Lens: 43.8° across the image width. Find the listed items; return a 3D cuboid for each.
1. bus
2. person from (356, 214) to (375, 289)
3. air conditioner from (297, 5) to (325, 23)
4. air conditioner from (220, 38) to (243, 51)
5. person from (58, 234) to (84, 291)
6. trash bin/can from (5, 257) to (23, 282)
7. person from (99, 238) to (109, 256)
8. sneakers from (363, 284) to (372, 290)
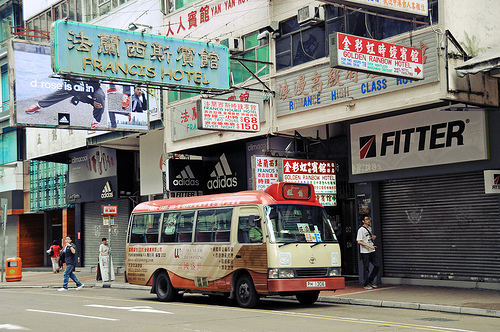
[{"bbox_3d":[-0.931,2.958,23.610,8.634,4.223,4.079,-8,-10,43],"label":"bus"},{"bbox_3d":[4.416,3.202,23.374,0.748,2.733,0.591,4,-12,-32],"label":"person"},{"bbox_3d":[2.485,-6.175,25.333,0.775,0.576,0.755,10,-15,-32],"label":"air conditioner"},{"bbox_3d":[-0.852,-5.534,28.327,0.921,0.592,0.930,1,-3,-19],"label":"air conditioner"},{"bbox_3d":[-7.872,4.116,26.746,1.093,2.413,1.220,-4,-13,-1],"label":"person"},{"bbox_3d":[-13.300,5.734,34.928,1.206,1.657,1.073,1,-9,-18],"label":"trash bin/can"},{"bbox_3d":[-7.471,4.065,31.695,0.399,0.945,0.947,1,-11,-16],"label":"person"},{"bbox_3d":[4.413,4.478,23.229,0.128,0.137,0.319,4,-12,-24],"label":"sneakers"}]
